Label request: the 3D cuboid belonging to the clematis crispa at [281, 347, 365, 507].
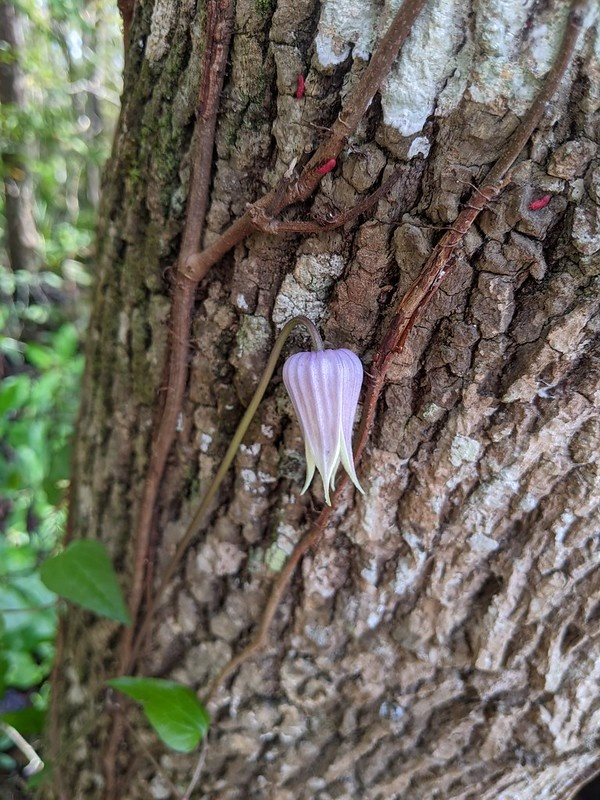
[{"bbox_3d":[0.045,0.027,1.682,0.119,0.272,0.126,5,-18,-31],"label":"clematis crispa"}]
